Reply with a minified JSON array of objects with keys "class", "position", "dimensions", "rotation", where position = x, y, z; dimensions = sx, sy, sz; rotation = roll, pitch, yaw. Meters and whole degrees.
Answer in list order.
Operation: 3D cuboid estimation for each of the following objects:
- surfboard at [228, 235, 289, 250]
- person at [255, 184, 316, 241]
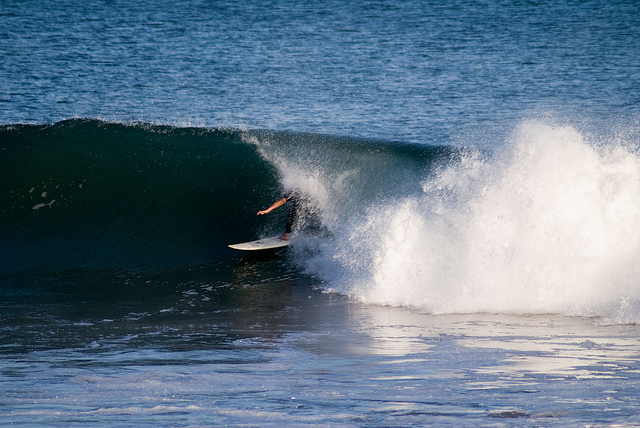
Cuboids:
[{"class":"surfboard","position":[-1.739,0.914,43.693],"dimensions":[2.778,0.193,0.467],"rotation":[-4,28,1]},{"class":"person","position":[-0.865,-0.017,44.241],"dimensions":[0.980,1.426,1.644],"rotation":[9,4,43]}]
